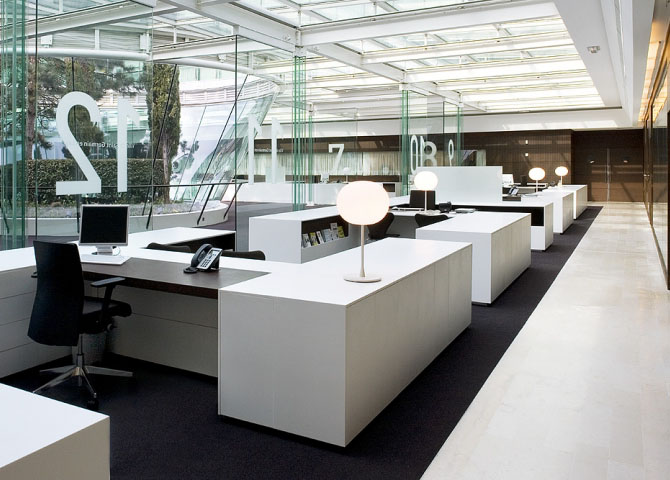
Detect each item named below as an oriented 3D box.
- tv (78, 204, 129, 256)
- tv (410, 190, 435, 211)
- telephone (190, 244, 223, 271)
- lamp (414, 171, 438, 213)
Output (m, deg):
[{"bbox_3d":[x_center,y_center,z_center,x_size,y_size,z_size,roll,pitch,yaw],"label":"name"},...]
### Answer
[{"bbox_3d":[-2.484,-0.113,5.239,0.472,0.562,0.179,1,-1,-15],"label":"tv"},{"bbox_3d":[1.920,-0.886,10.751,0.501,0.584,0.389,2,0,25],"label":"tv"},{"bbox_3d":[-1.268,0.183,4.817,0.200,0.177,0.299,8,32,17],"label":"telephone"},{"bbox_3d":[1.782,-0.953,9.679,0.365,0.750,0.387,3,-5,-15],"label":"lamp"}]
